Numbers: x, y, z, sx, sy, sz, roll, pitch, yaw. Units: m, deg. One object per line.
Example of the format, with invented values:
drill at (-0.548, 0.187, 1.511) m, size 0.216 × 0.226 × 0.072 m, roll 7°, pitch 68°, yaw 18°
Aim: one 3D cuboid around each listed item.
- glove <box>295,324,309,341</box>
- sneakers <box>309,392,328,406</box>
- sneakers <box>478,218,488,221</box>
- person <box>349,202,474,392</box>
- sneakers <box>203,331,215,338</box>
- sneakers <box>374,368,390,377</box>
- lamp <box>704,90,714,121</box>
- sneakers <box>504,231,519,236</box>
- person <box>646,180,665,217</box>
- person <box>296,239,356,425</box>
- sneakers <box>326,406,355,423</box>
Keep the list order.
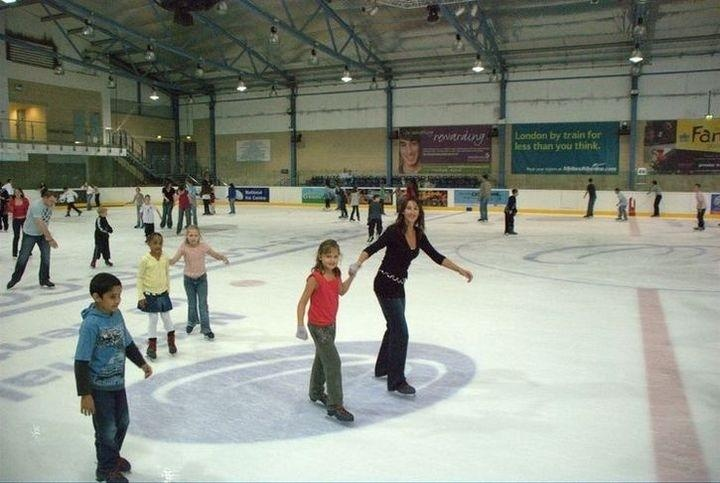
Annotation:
glove at (-0.700, 1.112, 7.731) m, size 0.108 × 0.230 × 0.287 m, roll 0°, pitch 7°, yaw -1°
sneakers at (-0.530, 2.032, 8.186) m, size 0.295 × 0.137 × 0.114 m, roll -2°, pitch -3°, yaw 34°
sneakers at (5.019, -0.883, 25.901) m, size 0.425 × 0.174 × 0.142 m, roll 2°, pitch 0°, yaw 13°
person at (0.502, 0.717, 8.495) m, size 1.256 × 2.567 × 0.666 m, roll -2°, pitch 7°, yaw -17°
sneakers at (-2.387, 1.472, 10.037) m, size 0.184 × 0.074 × 0.080 m, roll -2°, pitch -1°, yaw 31°
sneakers at (0.286, 1.813, 8.766) m, size 0.145 × 0.100 × 0.142 m, roll -3°, pitch -8°, yaw 5°
lamp at (16.076, -6.276, 29.176) m, size 0.320 × 1.356 × 0.314 m, roll 3°, pitch 8°, yaw 27°
sneakers at (5.014, -0.267, 20.988) m, size 0.411 × 0.156 × 0.136 m, roll -1°, pitch 3°, yaw -3°
person at (13.075, -1.881, 28.038) m, size 0.500 × 1.585 × 1.001 m, roll 3°, pitch 8°, yaw 25°
person at (-0.418, 1.094, 8.051) m, size 0.721 × 2.231 × 0.871 m, roll -1°, pitch 7°, yaw -4°
sneakers at (-0.239, 2.139, 7.867) m, size 0.305 × 0.185 × 0.166 m, roll -3°, pitch -4°, yaw 9°
